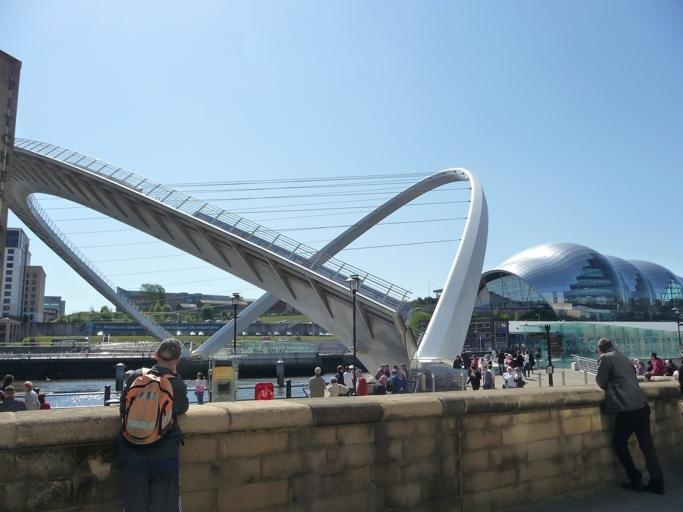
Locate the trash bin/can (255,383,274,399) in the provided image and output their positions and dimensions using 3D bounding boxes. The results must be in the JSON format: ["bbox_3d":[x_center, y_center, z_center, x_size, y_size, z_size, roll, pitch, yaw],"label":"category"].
[{"bbox_3d":[-2.141,3.755,18.871,0.464,0.408,0.930,2,-12,-14],"label":"trash bin/can"}]

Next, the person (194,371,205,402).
[{"bbox_3d":[-4.685,4.385,22.442,0.261,0.946,0.826,1,-11,-9],"label":"person"}]

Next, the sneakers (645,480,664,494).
[{"bbox_3d":[4.053,2.979,8.708,0.244,0.161,0.174,-5,-12,21],"label":"sneakers"}]

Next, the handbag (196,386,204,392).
[{"bbox_3d":[-4.672,4.415,22.318,0.179,0.149,0.235,-1,-10,4],"label":"handbag"}]

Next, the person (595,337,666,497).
[{"bbox_3d":[3.871,2.119,9.112,0.751,1.999,0.710,-3,-11,14],"label":"person"}]

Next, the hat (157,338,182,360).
[{"bbox_3d":[-1.733,0.919,6.828,0.173,0.137,0.281,8,29,-11],"label":"hat"}]

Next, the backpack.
[{"bbox_3d":[-1.850,1.423,6.488,0.480,0.667,0.653,6,-2,15],"label":"backpack"}]
